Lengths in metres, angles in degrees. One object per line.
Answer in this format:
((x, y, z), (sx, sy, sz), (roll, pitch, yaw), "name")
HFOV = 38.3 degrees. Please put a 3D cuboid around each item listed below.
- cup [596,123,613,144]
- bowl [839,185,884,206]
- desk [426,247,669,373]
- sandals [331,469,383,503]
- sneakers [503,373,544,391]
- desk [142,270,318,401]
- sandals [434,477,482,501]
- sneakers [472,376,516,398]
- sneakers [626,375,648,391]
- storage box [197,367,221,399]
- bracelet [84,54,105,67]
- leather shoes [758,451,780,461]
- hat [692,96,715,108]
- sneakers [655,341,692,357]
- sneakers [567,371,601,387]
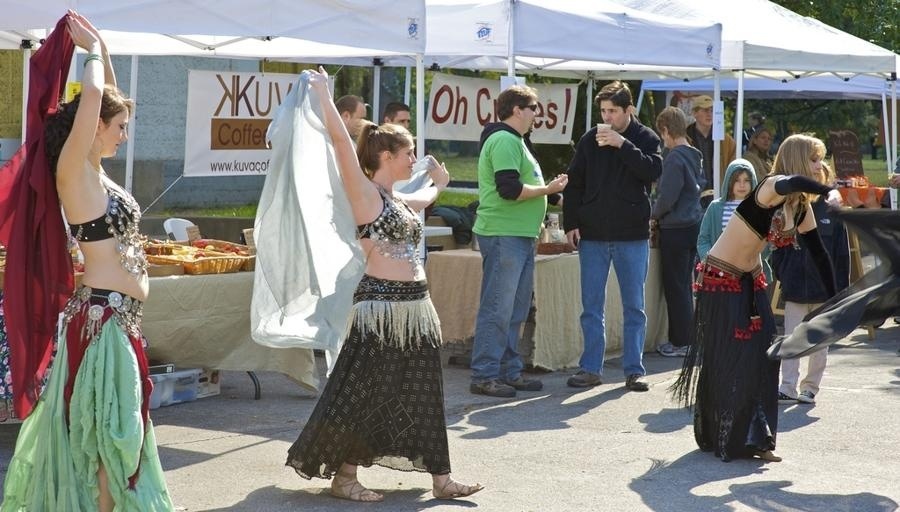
((1.514, -1.206, 12.796), (0.179, 0.193, 0.183), (1, -5, 0), "cup")
((5.213, -0.759, 16.380), (0.548, 0.130, 0.555), (-2, 5, 0), "bowl")
((0.739, 0.436, 14.225), (1.478, 1.024, 2.163), (0, 2, 32), "desk")
((-0.716, 1.912, 10.768), (0.504, 0.233, 0.198), (1, 1, 17), "sandals")
((0.751, 1.264, 13.012), (0.436, 0.185, 0.153), (-1, -2, 0), "sneakers")
((-2.258, 0.684, 12.367), (1.426, 0.700, 1.180), (1, 2, 28), "desk")
((0.088, 1.923, 10.813), (0.423, 0.242, 0.175), (-3, -2, 2), "sandals")
((0.440, 1.308, 12.857), (0.461, 0.198, 0.172), (0, 0, 13), "sneakers")
((1.892, 1.275, 12.953), (0.114, 0.107, 0.233), (2, -9, -17), "sneakers")
((-2.354, 1.248, 12.653), (0.251, 0.252, 0.252), (1, 3, -6), "storage box")
((-2.828, -1.546, 10.270), (0.131, 0.101, 0.243), (0, 4, -13), "bracelet")
((2.830, 1.772, 11.489), (0.225, 0.097, 0.072), (-5, 2, 13), "leather shoes")
((3.240, -1.977, 16.543), (0.211, 0.151, 0.288), (-2, -5, -28), "hat")
((2.389, 1.039, 14.128), (0.258, 0.112, 0.340), (1, 2, 28), "sneakers")
((1.365, 1.246, 13.104), (0.309, 0.141, 0.145), (4, -2, -21), "sneakers")
